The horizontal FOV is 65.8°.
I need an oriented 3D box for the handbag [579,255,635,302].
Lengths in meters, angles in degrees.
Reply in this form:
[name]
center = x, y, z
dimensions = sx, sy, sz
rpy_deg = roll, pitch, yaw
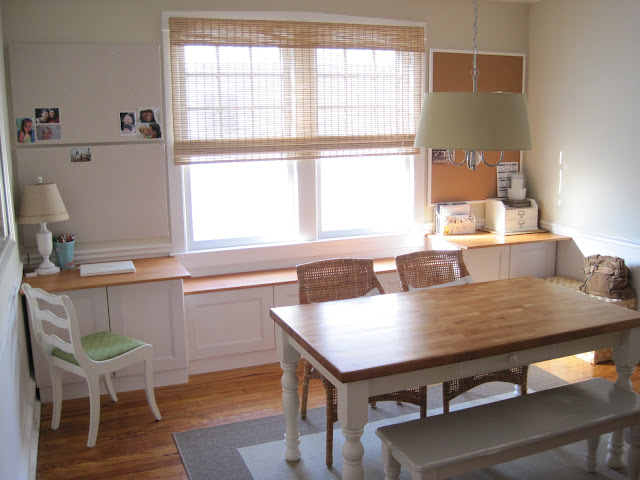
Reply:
[handbag]
center = 2.542, 0.307, 4.361
dimensions = 0.311, 0.474, 0.560
rpy_deg = -1, 3, -29

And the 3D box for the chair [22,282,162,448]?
[chair]
center = -1.503, 0.788, 3.335
dimensions = 0.724, 1.004, 0.576
rpy_deg = -5, 9, -45

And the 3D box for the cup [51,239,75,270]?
[cup]
center = -1.983, 0.107, 3.845
dimensions = 0.194, 0.219, 0.186
rpy_deg = 1, 11, 0

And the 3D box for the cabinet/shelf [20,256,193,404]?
[cabinet/shelf]
center = -1.601, 0.688, 3.928
dimensions = 1.114, 0.872, 0.714
rpy_deg = -4, 7, -12

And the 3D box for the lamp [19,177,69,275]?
[lamp]
center = -2.094, -0.111, 3.758
dimensions = 0.318, 0.716, 0.366
rpy_deg = -8, 16, -29

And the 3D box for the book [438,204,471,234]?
[book]
center = 1.318, -0.202, 4.885
dimensions = 0.246, 0.243, 0.124
rpy_deg = -5, 15, -10
